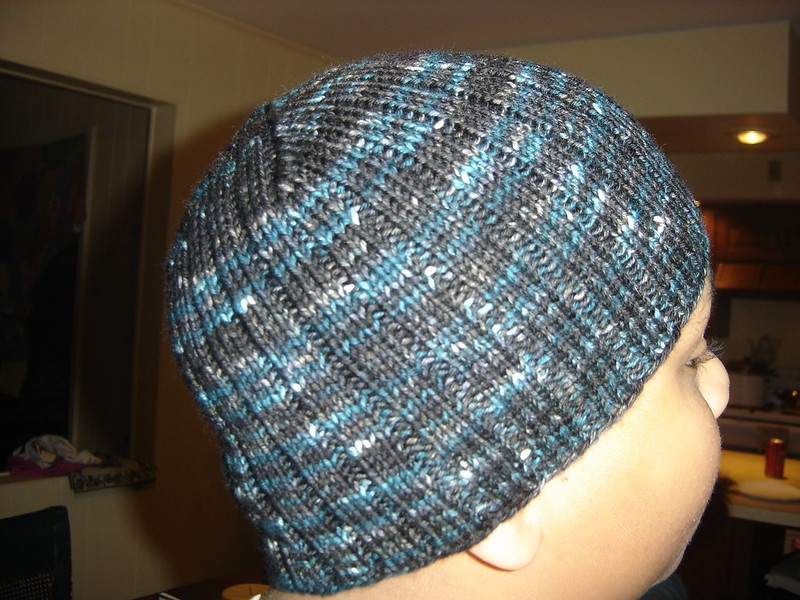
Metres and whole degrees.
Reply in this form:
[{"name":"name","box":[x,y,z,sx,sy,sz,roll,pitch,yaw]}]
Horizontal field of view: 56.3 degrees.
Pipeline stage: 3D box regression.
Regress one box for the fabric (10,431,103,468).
[{"name":"fabric","box":[-1.647,0.738,3.613,0.265,0.077,0.161,12,11,-8]}]

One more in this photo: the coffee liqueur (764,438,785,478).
[{"name":"coffee liqueur","box":[1.844,0.782,3.710,0.091,0.190,0.217,0,6,25]}]

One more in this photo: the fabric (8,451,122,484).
[{"name":"fabric","box":[-1.631,0.797,3.607,0.289,0.063,0.174,1,-1,-40]}]
